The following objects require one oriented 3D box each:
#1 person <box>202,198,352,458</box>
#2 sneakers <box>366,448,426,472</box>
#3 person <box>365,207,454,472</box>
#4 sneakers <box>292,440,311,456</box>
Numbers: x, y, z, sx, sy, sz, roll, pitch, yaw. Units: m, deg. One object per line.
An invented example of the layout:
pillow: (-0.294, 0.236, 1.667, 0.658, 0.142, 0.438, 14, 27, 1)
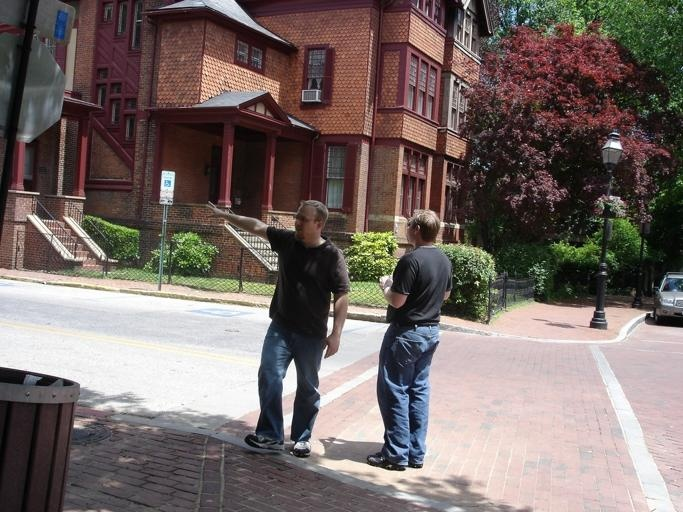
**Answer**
person: (-0.463, 0.681, 6.130, 1.018, 2.047, 0.466, 5, -2, -6)
sneakers: (0.536, 2.003, 6.139, 0.555, 0.228, 0.205, 8, 8, 17)
person: (0.705, 0.799, 6.262, 0.675, 1.880, 0.394, 6, -2, -40)
sneakers: (-0.385, 1.872, 6.087, 0.198, 0.132, 0.170, 4, -2, -7)
